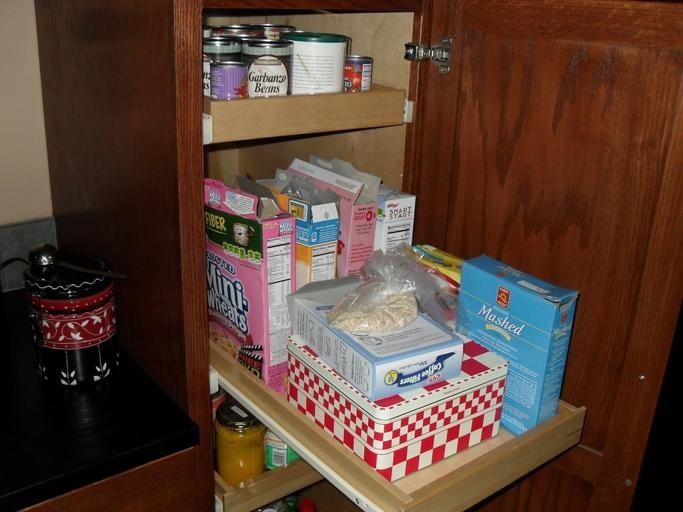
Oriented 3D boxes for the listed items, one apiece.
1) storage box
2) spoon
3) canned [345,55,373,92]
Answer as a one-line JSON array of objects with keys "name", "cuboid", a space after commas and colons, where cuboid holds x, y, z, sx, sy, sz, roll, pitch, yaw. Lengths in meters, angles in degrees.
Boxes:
[{"name": "storage box", "cuboid": [0.130, 0.160, 0.989, 0.347, 0.121, 0.379, -13, 29, -29]}, {"name": "spoon", "cuboid": [-0.576, 0.014, 1.197, 0.155, 0.042, 0.050, 12, 39, 3]}, {"name": "canned", "cuboid": [0.035, -0.418, 1.251, 0.077, 0.088, 0.078, -6, 21, -24]}]
